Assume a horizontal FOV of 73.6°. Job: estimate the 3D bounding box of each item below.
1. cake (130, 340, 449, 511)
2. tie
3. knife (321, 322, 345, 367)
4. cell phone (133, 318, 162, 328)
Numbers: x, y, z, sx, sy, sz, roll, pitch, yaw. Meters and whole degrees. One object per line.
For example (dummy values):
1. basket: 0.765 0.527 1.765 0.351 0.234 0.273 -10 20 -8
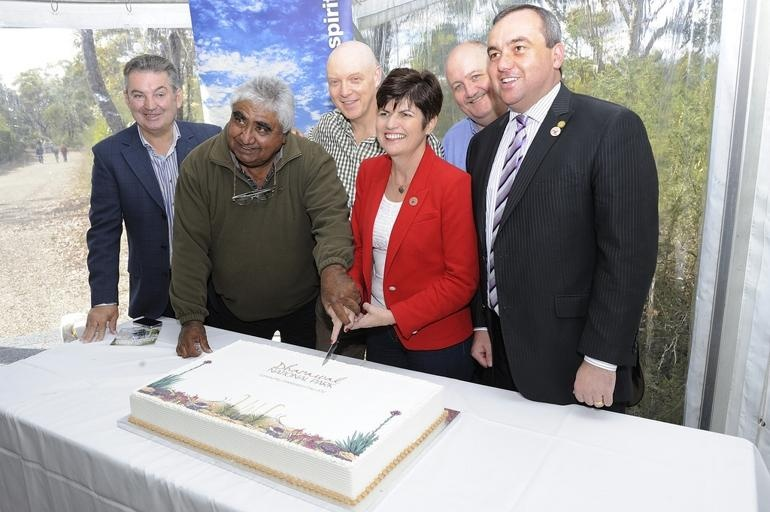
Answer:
1. cake: -0.437 0.603 2.114 0.965 0.167 0.596 10 19 27
2. tie: 0.615 -0.275 2.573 0.115 1.120 0.125 12 -7 -43
3. knife: -0.289 0.454 2.727 0.032 0.289 0.040 23 15 -5
4. cell phone: -1.379 0.381 2.959 0.147 0.017 0.089 6 10 27
